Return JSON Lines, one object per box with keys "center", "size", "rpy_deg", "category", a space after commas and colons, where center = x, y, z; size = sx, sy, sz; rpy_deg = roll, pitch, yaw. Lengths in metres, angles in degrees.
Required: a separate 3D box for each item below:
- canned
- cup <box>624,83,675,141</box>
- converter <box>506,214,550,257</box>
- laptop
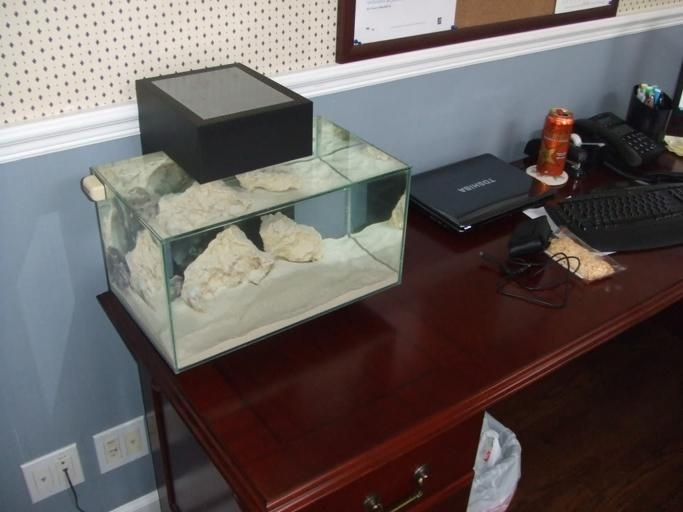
{"center": [0.647, -0.323, 1.799], "size": [0.119, 0.303, 0.118], "rpy_deg": [33, 48, 31], "category": "canned"}
{"center": [1.059, -0.496, 1.967], "size": [0.120, 0.219, 0.149], "rpy_deg": [-29, 46, -18], "category": "cup"}
{"center": [0.508, -0.062, 1.533], "size": [0.107, 0.055, 0.155], "rpy_deg": [-13, 27, 30], "category": "converter"}
{"center": [0.403, -0.178, 1.652], "size": [0.341, 0.039, 0.322], "rpy_deg": [-17, 35, -30], "category": "laptop"}
